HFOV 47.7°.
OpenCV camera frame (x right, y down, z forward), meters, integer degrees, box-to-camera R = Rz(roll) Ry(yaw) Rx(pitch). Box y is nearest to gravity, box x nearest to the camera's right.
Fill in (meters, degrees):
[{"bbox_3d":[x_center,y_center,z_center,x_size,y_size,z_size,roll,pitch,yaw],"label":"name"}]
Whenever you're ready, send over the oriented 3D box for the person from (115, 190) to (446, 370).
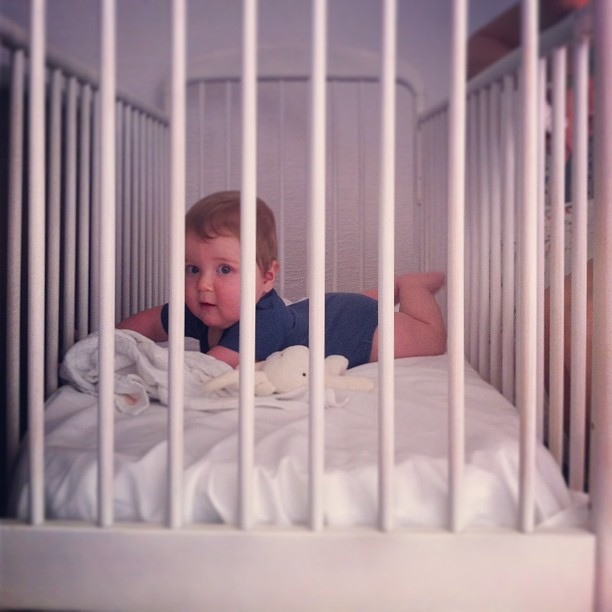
[{"bbox_3d":[-0.036,0.009,1.520,0.668,0.347,0.352,6,-1,-13],"label":"person"}]
